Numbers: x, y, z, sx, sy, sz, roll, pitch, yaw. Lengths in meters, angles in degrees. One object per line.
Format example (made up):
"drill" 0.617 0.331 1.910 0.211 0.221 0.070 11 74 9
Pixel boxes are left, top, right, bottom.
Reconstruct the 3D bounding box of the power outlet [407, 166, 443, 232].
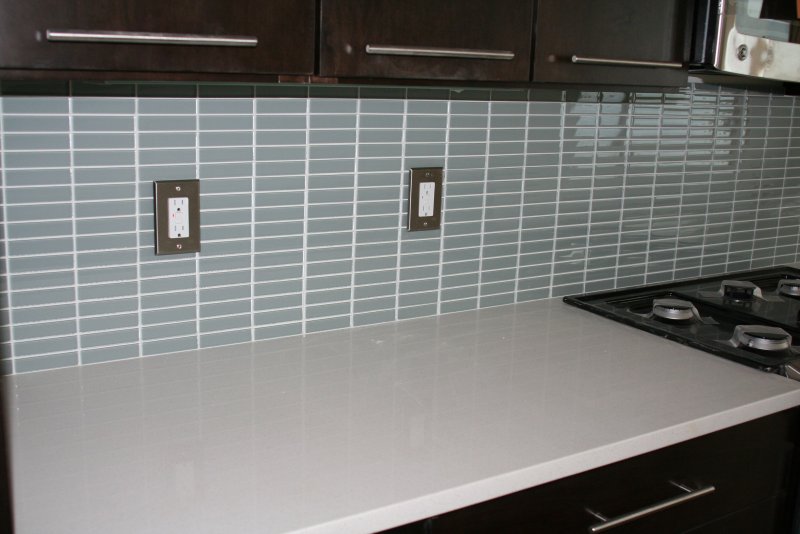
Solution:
"power outlet" 0.067 -0.189 1.593 0.121 0.162 0.059 -6 20 -31
